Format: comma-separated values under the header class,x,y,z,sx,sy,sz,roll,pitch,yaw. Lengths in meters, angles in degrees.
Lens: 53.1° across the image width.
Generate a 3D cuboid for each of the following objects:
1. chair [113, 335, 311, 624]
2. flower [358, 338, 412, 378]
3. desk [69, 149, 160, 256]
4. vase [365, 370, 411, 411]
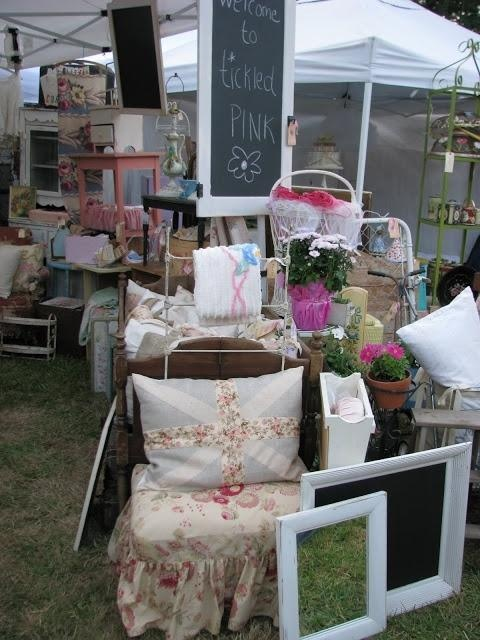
class,x,y,z,sx,sy,sz,roll,pitch,yaw
chair,-0.078,0.538,1.675,0.661,0.577,0.848,0,31,-3
flower,0.647,0.184,2.168,0.171,0.133,0.187,-3,19,3
desk,-1.080,-1.033,4.219,0.617,0.787,1.062,-8,12,-36
vase,0.649,0.315,2.114,0.156,0.112,0.155,-9,13,-39
